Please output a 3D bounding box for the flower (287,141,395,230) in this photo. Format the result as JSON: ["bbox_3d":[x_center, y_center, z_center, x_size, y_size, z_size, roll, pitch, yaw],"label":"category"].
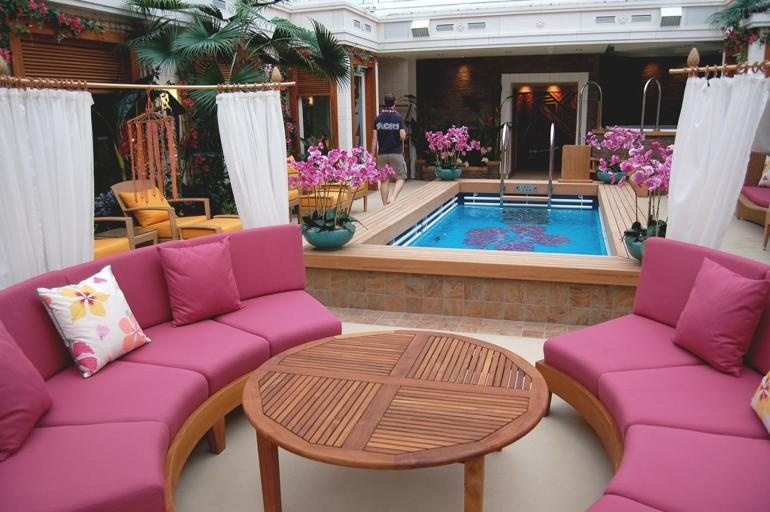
[{"bbox_3d":[-0.616,-0.952,7.112,1.391,1.115,1.992,3,19,6],"label":"flower"}]

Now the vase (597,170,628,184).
[{"bbox_3d":[4.509,-1.549,10.158,0.441,0.193,0.447,-2,14,-1],"label":"vase"}]

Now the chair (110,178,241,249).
[{"bbox_3d":[-2.769,-0.564,6.659,1.664,0.895,1.047,5,17,13],"label":"chair"}]

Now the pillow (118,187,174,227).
[{"bbox_3d":[-2.973,-0.605,6.314,0.135,0.474,0.470,-23,8,33],"label":"pillow"}]

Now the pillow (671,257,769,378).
[{"bbox_3d":[2.104,0.402,3.167,0.293,0.528,0.568,-9,15,-12],"label":"pillow"}]

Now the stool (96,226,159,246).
[{"bbox_3d":[-3.103,-0.239,6.181,0.337,0.173,0.226,0,17,-2],"label":"stool"}]

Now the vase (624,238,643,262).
[{"bbox_3d":[2.382,-0.058,4.892,0.202,0.163,0.193,2,22,8],"label":"vase"}]

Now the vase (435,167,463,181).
[{"bbox_3d":[1.372,-1.797,11.128,0.508,0.271,0.527,6,21,17],"label":"vase"}]
